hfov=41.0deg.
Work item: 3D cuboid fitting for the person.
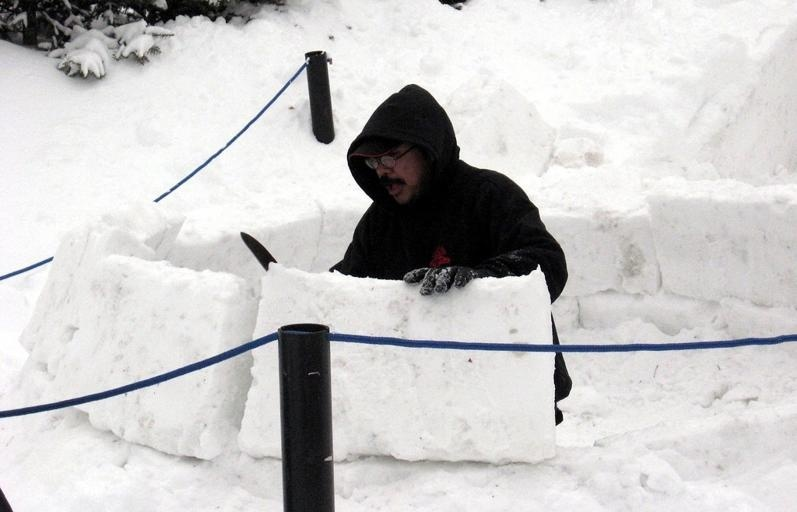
[{"bbox_3d":[0.342,-0.332,6.959,0.866,1.347,1.525,-15,30,-31],"label":"person"}]

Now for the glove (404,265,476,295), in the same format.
[{"bbox_3d":[0.251,0.152,6.450,0.454,0.174,0.190,3,26,1],"label":"glove"}]
